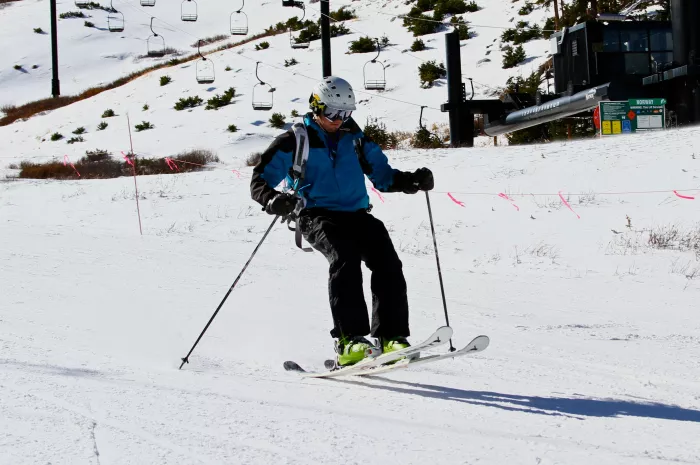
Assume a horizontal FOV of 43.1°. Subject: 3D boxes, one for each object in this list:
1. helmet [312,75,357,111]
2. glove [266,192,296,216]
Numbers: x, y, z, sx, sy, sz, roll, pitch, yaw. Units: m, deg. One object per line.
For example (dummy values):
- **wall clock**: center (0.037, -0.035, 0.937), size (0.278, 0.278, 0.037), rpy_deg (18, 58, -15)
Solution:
- **helmet**: center (-0.179, -1.768, 11.253), size (0.431, 0.491, 0.283), rpy_deg (1, 6, -19)
- **glove**: center (-0.860, -0.363, 11.070), size (0.392, 0.291, 0.190), rpy_deg (-2, 7, -15)
